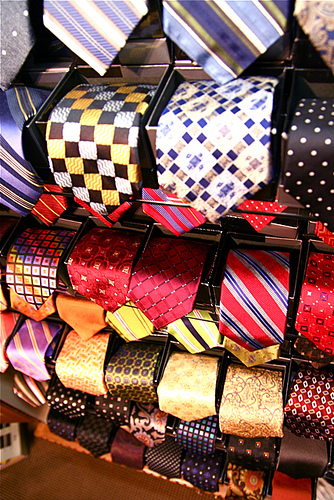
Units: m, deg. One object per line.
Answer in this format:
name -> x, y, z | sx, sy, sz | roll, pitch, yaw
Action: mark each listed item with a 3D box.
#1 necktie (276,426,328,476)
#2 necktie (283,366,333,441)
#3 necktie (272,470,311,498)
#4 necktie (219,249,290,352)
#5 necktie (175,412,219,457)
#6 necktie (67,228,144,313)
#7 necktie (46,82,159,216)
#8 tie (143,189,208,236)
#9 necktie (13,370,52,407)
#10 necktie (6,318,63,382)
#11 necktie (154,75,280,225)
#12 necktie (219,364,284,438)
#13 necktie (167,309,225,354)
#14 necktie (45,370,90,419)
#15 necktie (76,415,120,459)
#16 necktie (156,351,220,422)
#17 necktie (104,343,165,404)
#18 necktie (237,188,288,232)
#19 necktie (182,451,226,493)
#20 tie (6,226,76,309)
necktie -> 0.429, 0.630, 1.180 | 0.107, 0.055, 0.139 | 4, 79, 9
necktie -> 0.433, 0.465, 1.108 | 0.147, 0.203, 0.141 | 14, 45, 21
necktie -> 0.435, 0.843, 1.315 | 0.087, 0.020, 0.082 | -2, 41, -5
necktie -> 0.227, 0.142, 0.967 | 0.160, 0.251, 0.168 | 6, 43, 14
necktie -> 0.098, 0.616, 1.293 | 0.154, 0.139, 0.119 | 12, 17, 0
necktie -> -0.170, 0.028, 1.084 | 0.198, 0.099, 0.239 | 5, 46, 8
necktie -> -0.115, -0.201, 0.758 | 0.195, 0.207, 0.233 | 5, 42, 12
tie -> 0.022, -0.082, 0.816 | 0.153, 0.166, 0.014 | 0, 59, 54
necktie -> -0.544, 0.552, 1.489 | 0.040, 0.140, 0.100 | -46, 36, 24
necktie -> -0.468, 0.356, 1.403 | 0.181, 0.119, 0.228 | 17, 89, 16
necktie -> 0.099, -0.187, 0.686 | 0.202, 0.206, 0.213 | 7, 43, 14
necktie -> 0.267, 0.472, 1.149 | 0.185, 0.160, 0.167 | 7, 43, 14
necktie -> 0.081, 0.236, 1.096 | 0.157, 0.148, 0.039 | -33, 23, 31
necktie -> -0.420, 0.550, 1.427 | 0.139, 0.039, 0.140 | -60, 34, 3
necktie -> -0.266, 0.738, 1.480 | 0.148, 0.049, 0.145 | 26, 94, 6
necktie -> 0.075, 0.426, 1.201 | 0.187, 0.154, 0.191 | 4, 42, 11
necktie -> -0.099, 0.404, 1.268 | 0.183, 0.161, 0.173 | 6, 43, 14
necktie -> 0.181, -0.076, 0.729 | 0.097, 0.067, 0.024 | 8, 28, 42
necktie -> 0.128, 0.802, 1.351 | 0.141, 0.113, 0.092 | 9, 43, 16
tie -> -0.370, 0.026, 1.229 | 0.180, 0.198, 0.256 | 13, 32, -1
